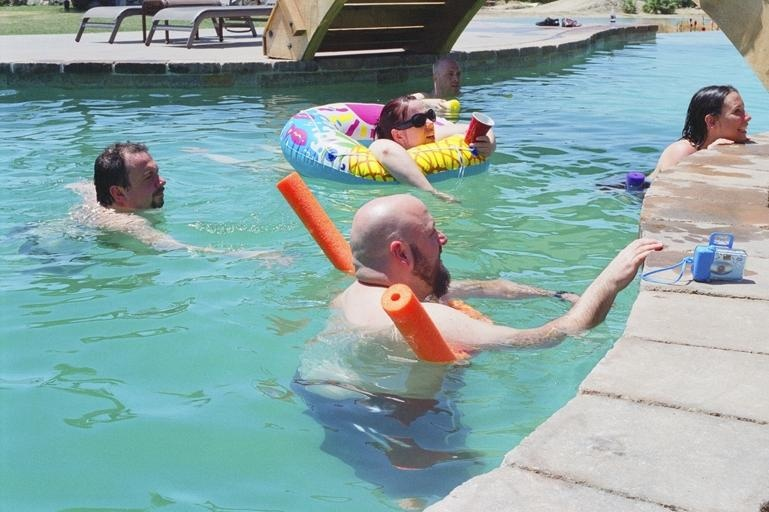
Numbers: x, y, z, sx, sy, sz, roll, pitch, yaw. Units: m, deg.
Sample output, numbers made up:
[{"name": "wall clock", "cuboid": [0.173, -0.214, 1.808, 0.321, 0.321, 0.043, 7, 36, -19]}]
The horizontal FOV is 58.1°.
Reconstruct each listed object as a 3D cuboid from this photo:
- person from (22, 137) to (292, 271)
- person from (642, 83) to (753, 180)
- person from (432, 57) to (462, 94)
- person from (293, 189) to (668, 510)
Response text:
[{"name": "person", "cuboid": [-2.064, -0.492, 5.811, 2.337, 0.870, 0.933, 12, 21, 44]}, {"name": "person", "cuboid": [3.148, -1.254, 6.844, 1.017, 0.798, 0.468, -10, 20, -30]}, {"name": "person", "cuboid": [0.905, -2.604, 10.261, 0.385, 0.559, 0.337, 1, 18, 8]}, {"name": "person", "cuboid": [0.317, 0.324, 3.822, 1.237, 1.310, 1.774, 14, 22, 43]}]
